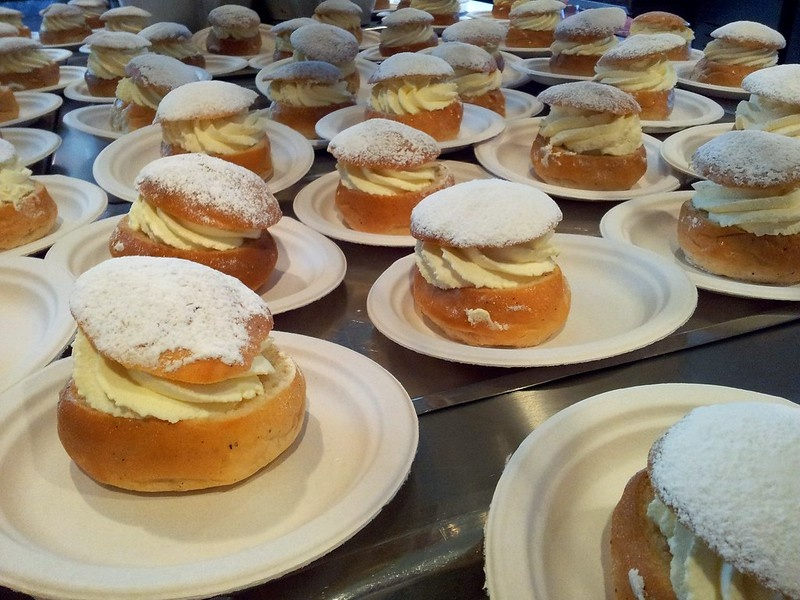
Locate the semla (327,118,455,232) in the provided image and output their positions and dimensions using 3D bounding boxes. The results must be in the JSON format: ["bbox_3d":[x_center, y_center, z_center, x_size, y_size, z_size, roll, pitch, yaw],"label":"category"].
[{"bbox_3d":[-0.034,-0.435,2.145,0.438,0.280,0.380,-2,24,-3],"label":"semla"}]

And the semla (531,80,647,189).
[{"bbox_3d":[0.625,-0.588,2.444,0.455,0.280,0.399,3,18,8],"label":"semla"}]

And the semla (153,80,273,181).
[{"bbox_3d":[-0.611,-0.610,2.440,0.445,0.320,0.387,-10,28,-18],"label":"semla"}]

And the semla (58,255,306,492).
[{"bbox_3d":[-0.448,0.132,1.420,0.505,0.311,0.486,-9,28,-27],"label":"semla"}]

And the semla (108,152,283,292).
[{"bbox_3d":[-0.553,-0.226,1.905,0.467,0.319,0.418,-6,29,-30],"label":"semla"}]
